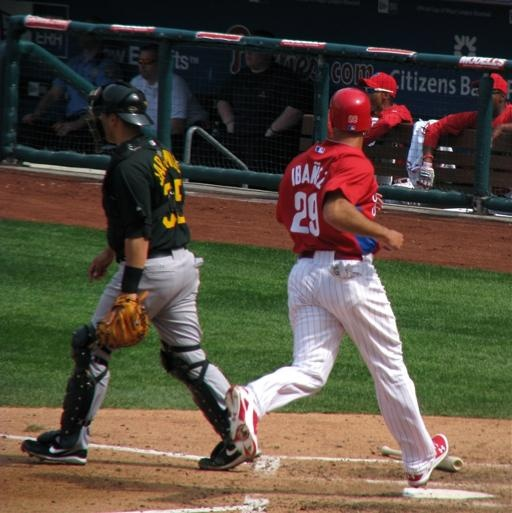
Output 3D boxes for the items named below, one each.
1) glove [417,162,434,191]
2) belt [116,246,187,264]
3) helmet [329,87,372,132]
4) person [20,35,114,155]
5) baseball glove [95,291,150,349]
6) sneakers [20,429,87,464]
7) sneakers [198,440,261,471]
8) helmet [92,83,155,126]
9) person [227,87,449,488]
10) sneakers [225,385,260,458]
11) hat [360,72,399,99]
[{"bbox_3d":[1.312,-0.613,8.403,0.138,0.170,0.067,3,11,18],"label":"glove"},{"bbox_3d":[-0.527,0.000,5.546,0.363,0.103,0.262,2,8,-6],"label":"belt"},{"bbox_3d":[0.479,-0.741,5.543,0.214,0.177,0.243,5,25,9],"label":"helmet"},{"bbox_3d":[-1.586,-1.425,9.238,0.895,0.923,0.713,13,16,22],"label":"person"},{"bbox_3d":[-0.678,0.320,5.531,0.304,0.164,0.447,5,19,3],"label":"baseball glove"},{"bbox_3d":[-1.046,0.978,5.730,0.440,0.182,0.136,7,-5,3],"label":"sneakers"},{"bbox_3d":[-0.165,1.022,5.715,0.457,0.166,0.142,-4,-7,-1],"label":"sneakers"},{"bbox_3d":[-0.681,-0.793,5.647,0.363,0.170,0.246,8,14,23],"label":"helmet"},{"bbox_3d":[0.395,0.138,5.427,1.070,1.920,0.787,3,10,-9],"label":"person"},{"bbox_3d":[-0.054,0.783,5.160,0.177,0.378,0.151,5,10,-1],"label":"sneakers"},{"bbox_3d":[0.999,-1.333,8.624,0.295,0.125,0.182,14,5,-5],"label":"hat"}]
